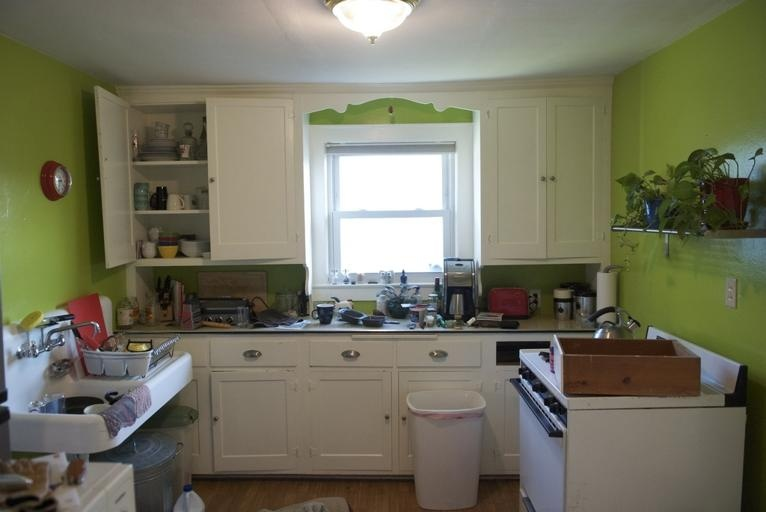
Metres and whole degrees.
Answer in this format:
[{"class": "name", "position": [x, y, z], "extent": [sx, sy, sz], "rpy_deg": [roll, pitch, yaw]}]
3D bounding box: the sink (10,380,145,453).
[{"class": "sink", "position": [-1.779, 0.969, 3.540], "extent": [0.435, 0.127, 0.434], "rpy_deg": [1, 3, 3]}]

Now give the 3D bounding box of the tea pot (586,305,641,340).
[{"class": "tea pot", "position": [1.518, 0.445, 3.937], "extent": [0.317, 0.273, 0.217], "rpy_deg": [-7, 7, -15]}]

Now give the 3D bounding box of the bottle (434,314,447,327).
[{"class": "bottle", "position": [0.435, 0.503, 4.567], "extent": [0.076, 0.039, 0.108], "rpy_deg": [2, 11, 5]}]

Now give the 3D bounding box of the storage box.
[{"class": "storage box", "position": [1.358, 0.600, 3.443], "extent": [0.470, 0.169, 0.440], "rpy_deg": [0, 2, 4]}]

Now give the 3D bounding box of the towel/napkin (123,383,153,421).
[{"class": "towel/napkin", "position": [-1.499, 0.901, 3.742], "extent": [0.137, 0.167, 0.284], "rpy_deg": [0, 2, 3]}]

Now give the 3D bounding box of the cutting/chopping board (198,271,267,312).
[{"class": "cutting/chopping board", "position": [-1.200, 0.249, 4.804], "extent": [0.483, 0.322, 0.116], "rpy_deg": [0, 10, 2]}]

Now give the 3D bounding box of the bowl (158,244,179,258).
[{"class": "bowl", "position": [-1.663, -0.034, 4.662], "extent": [0.107, 0.075, 0.108], "rpy_deg": [1, 0, 0]}]

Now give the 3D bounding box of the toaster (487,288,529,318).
[{"class": "toaster", "position": [0.996, 0.378, 4.767], "extent": [0.319, 0.237, 0.193], "rpy_deg": [-1, 5, 9]}]

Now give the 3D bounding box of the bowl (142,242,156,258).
[{"class": "bowl", "position": [-1.799, -0.038, 4.648], "extent": [0.090, 0.116, 0.121], "rpy_deg": [7, 8, 44]}]

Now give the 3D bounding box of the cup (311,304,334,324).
[{"class": "cup", "position": [-0.476, 0.457, 4.683], "extent": [0.154, 0.122, 0.131], "rpy_deg": [-2, 2, -6]}]

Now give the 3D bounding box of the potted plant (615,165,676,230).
[{"class": "potted plant", "position": [1.570, -0.326, 3.591], "extent": [0.414, 0.292, 0.419], "rpy_deg": [-3, -3, 39]}]

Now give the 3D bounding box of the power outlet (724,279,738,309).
[{"class": "power outlet", "position": [1.988, 0.219, 3.444], "extent": [0.016, 0.175, 0.069], "rpy_deg": [-4, 5, -23]}]

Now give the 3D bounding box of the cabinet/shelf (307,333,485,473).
[{"class": "cabinet/shelf", "position": [0.143, 1.034, 4.361], "extent": [1.032, 0.772, 0.398], "rpy_deg": [0, -2, 1]}]

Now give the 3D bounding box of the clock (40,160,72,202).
[{"class": "clock", "position": [-2.163, -0.498, 3.992], "extent": [0.051, 0.273, 0.201], "rpy_deg": [0, 5, 21]}]

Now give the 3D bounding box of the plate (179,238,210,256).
[{"class": "plate", "position": [-1.478, -0.055, 4.704], "extent": [0.144, 0.115, 0.168], "rpy_deg": [0, -4, -28]}]

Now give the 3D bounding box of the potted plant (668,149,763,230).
[{"class": "potted plant", "position": [1.801, -0.350, 3.472], "extent": [0.478, 0.456, 0.477], "rpy_deg": [-2, 4, -17]}]

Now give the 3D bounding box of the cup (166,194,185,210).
[{"class": "cup", "position": [-1.602, -0.414, 4.651], "extent": [0.132, 0.122, 0.094], "rpy_deg": [4, -4, -30]}]

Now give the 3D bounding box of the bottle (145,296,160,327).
[{"class": "bottle", "position": [-1.831, 0.434, 4.741], "extent": [0.105, 0.204, 0.117], "rpy_deg": [-2, 4, -1]}]

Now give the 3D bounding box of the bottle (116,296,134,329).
[{"class": "bottle", "position": [-1.957, 0.445, 4.611], "extent": [0.124, 0.219, 0.068], "rpy_deg": [-6, 6, -43]}]

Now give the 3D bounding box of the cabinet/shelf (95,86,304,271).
[{"class": "cabinet/shelf", "position": [-1.317, -0.567, 4.762], "extent": [1.538, 1.322, 0.851], "rpy_deg": [-1, 4, -3]}]

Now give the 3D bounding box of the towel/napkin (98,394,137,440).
[{"class": "towel/napkin", "position": [-1.547, 0.950, 3.553], "extent": [0.069, 0.193, 0.193], "rpy_deg": [-8, 14, 21]}]

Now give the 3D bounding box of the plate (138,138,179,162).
[{"class": "plate", "position": [-1.724, -0.789, 4.647], "extent": [0.198, 0.113, 0.226], "rpy_deg": [-1, 1, -10]}]

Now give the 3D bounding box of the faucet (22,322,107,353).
[{"class": "faucet", "position": [-2.036, 0.524, 3.983], "extent": [0.356, 0.147, 0.195], "rpy_deg": [7, 16, -35]}]

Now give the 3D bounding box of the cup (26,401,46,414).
[{"class": "cup", "position": [-2.071, 0.913, 3.604], "extent": [0.069, 0.078, 0.070], "rpy_deg": [4, 12, -1]}]
